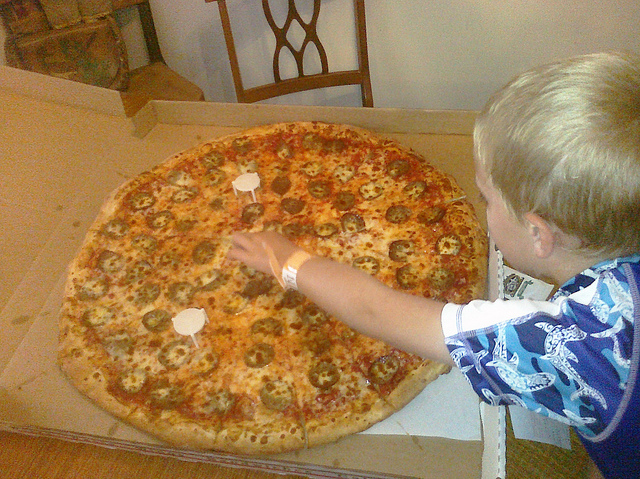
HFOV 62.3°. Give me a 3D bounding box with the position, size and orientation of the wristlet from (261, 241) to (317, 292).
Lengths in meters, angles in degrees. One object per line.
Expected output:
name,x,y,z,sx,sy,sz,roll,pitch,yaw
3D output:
wristlet,-0.087,0.076,1.371,0.153,0.093,0.172,10,25,20

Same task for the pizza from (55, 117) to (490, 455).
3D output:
pizza,-0.312,-0.009,1.873,0.119,1.126,0.877,-22,79,34
